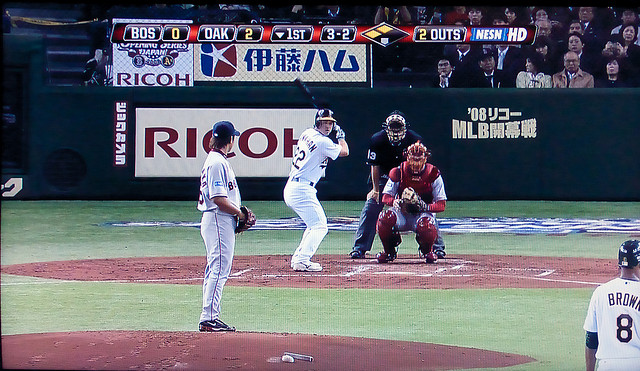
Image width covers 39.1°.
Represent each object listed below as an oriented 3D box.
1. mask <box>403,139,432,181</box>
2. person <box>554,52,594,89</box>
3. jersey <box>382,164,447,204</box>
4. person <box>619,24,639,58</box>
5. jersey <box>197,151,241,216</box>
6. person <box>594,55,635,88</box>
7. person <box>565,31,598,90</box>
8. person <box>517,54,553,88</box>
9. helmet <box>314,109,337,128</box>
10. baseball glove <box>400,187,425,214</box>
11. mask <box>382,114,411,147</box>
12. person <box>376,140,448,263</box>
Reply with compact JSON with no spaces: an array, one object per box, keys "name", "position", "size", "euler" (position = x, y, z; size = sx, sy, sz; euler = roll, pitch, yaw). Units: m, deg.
[{"name":"mask","position":[1.920,-0.498,18.055],"size":[0.491,0.733,0.438],"euler":[1,0,7]},{"name":"person","position":[6.742,-3.024,23.798],"size":[1.144,0.972,0.586],"euler":[1,-1,15]},{"name":"jersey","position":[1.942,-0.072,18.402],"size":[0.833,0.882,1.145],"euler":[0,0,14]},{"name":"person","position":[8.141,-3.774,23.740],"size":[0.512,0.849,0.268],"euler":[1,3,16]},{"name":"jersey","position":[-1.737,-0.015,15.320],"size":[0.580,1.139,0.933],"euler":[1,0,-4]},{"name":"person","position":[7.797,-3.010,23.730],"size":[1.022,0.675,0.431],"euler":[0,-1,7]},{"name":"person","position":[6.889,-3.350,23.885],"size":[0.829,1.446,0.386],"euler":[0,3,-15]},{"name":"person","position":[5.633,-3.022,23.865],"size":[1.032,0.876,0.549],"euler":[-1,-5,-13]},{"name":"helmet","position":[0.093,-1.354,18.110],"size":[0.342,0.317,0.427],"euler":[4,-2,-13]},{"name":"baseball glove","position":[1.852,0.269,17.990],"size":[0.259,0.600,0.357],"euler":[-42,17,28]},{"name":"mask","position":[1.555,-1.127,18.804],"size":[0.616,0.548,0.623],"euler":[0,0,3]},{"name":"person","position":[1.815,0.372,18.156],"size":[1.334,2.402,0.536],"euler":[0,3,3]}]
